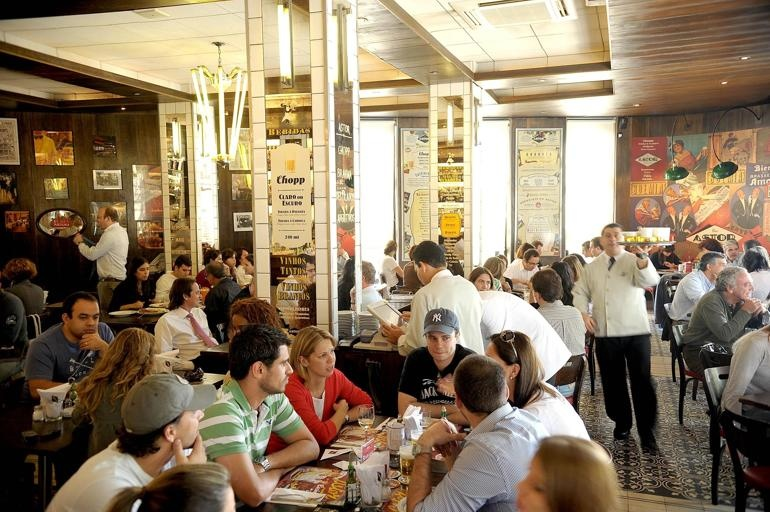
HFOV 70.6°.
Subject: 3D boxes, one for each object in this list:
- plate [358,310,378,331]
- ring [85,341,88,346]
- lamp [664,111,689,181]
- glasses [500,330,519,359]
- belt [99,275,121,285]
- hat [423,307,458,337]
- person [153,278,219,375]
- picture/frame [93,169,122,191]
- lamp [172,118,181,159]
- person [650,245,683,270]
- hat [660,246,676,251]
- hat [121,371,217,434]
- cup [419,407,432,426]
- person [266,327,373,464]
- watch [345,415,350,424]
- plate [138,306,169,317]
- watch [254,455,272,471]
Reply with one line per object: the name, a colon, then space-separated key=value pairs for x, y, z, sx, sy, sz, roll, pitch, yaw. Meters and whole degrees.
plate: x=-0.184 y=0.734 z=6.172 sx=0.275 sy=0.128 sz=0.372 roll=1 pitch=0 yaw=1
ring: x=-2.952 y=0.866 z=5.373 sx=0.036 sy=0.031 sz=0.014 roll=8 pitch=3 yaw=24
lamp: x=6.891 y=-2.473 z=12.680 sx=0.451 sy=1.459 sz=1.401 roll=10 pitch=12 yaw=24
glasses: x=0.915 y=0.641 z=3.991 sx=0.050 sy=0.152 sz=0.147 roll=-37 pitch=40 yaw=-21
belt: x=-5.154 y=0.439 z=10.081 sx=0.312 sy=0.086 sz=0.288 roll=3 pitch=0 yaw=6
hat: x=0.485 y=0.554 z=4.602 sx=0.280 sy=0.212 sz=0.159 roll=6 pitch=11 yaw=7
person: x=-2.392 y=0.867 z=6.576 sx=0.586 sy=1.004 sz=0.971 roll=-6 pitch=4 yaw=19
picture/frame: x=-6.461 y=-1.769 z=12.539 sx=0.527 sy=0.363 sz=0.037 roll=2 pitch=11 yaw=-2
lamp: x=-4.427 y=-2.477 z=11.508 sx=0.198 sy=0.728 sz=0.140 roll=0 pitch=12 yaw=-21
person: x=6.409 y=0.051 z=12.355 sx=0.535 sy=0.819 sz=0.486 roll=-1 pitch=13 yaw=2
hat: x=6.484 y=-0.176 z=12.417 sx=0.193 sy=0.111 sz=0.257 roll=0 pitch=-5 yaw=19
hat: x=-1.384 y=0.900 z=3.500 sx=0.516 sy=0.206 sz=0.321 roll=-10 pitch=26 yaw=-33
cup: x=0.341 y=1.269 z=4.309 sx=0.104 sy=0.091 sz=0.100 roll=0 pitch=3 yaw=0
person: x=-0.521 y=1.216 z=4.672 sx=0.800 sy=1.138 sz=0.910 roll=9 pitch=7 yaw=41
watch: x=-0.320 y=1.388 z=4.648 sx=0.037 sy=0.046 sz=0.015 roll=-1 pitch=-1 yaw=-16
plate: x=-3.445 y=0.824 z=8.095 sx=0.292 sy=0.065 sz=0.283 roll=0 pitch=1 yaw=5
watch: x=-0.872 y=1.468 z=3.904 sx=0.103 sy=0.094 sz=0.064 roll=5 pitch=26 yaw=-47
